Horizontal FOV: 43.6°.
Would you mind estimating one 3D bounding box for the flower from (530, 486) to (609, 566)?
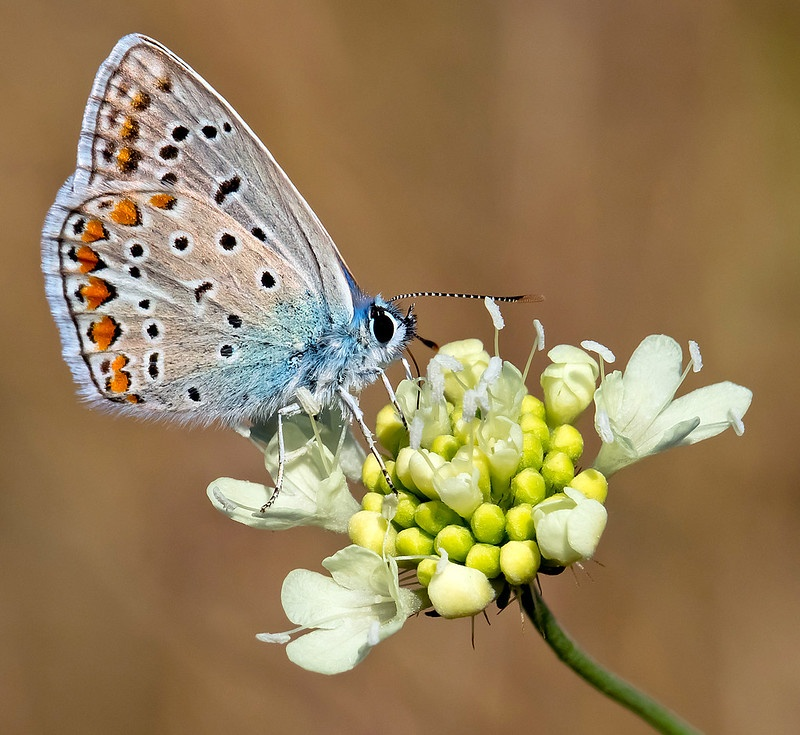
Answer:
[{"bbox_3d":[0.814,0.833,4.971,0.278,0.394,0.369,-3,-93,15],"label":"flower"}]
